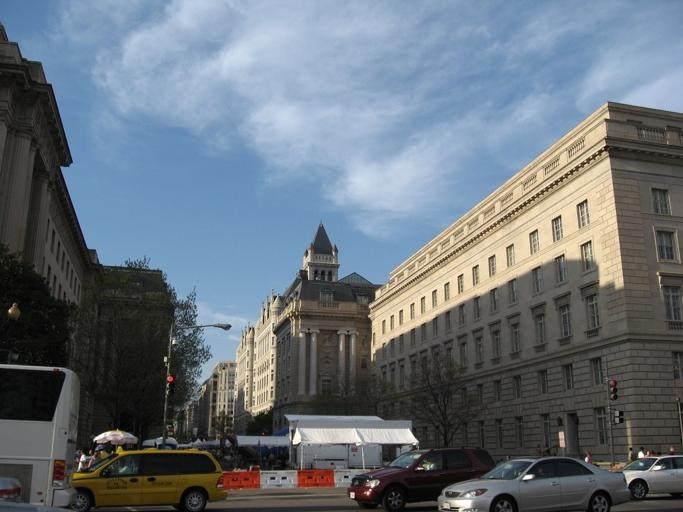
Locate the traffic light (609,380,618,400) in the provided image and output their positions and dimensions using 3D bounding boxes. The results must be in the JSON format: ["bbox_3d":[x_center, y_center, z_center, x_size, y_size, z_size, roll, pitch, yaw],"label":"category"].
[{"bbox_3d":[14.641,7.211,38.995,0.351,1.117,1.336,3,-2,17],"label":"traffic light"}]

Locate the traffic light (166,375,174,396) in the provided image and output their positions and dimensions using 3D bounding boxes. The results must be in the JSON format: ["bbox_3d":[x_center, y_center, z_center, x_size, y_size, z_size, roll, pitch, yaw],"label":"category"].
[{"bbox_3d":[-9.895,7.457,41.864,0.377,1.024,1.075,4,-2,-16],"label":"traffic light"}]
